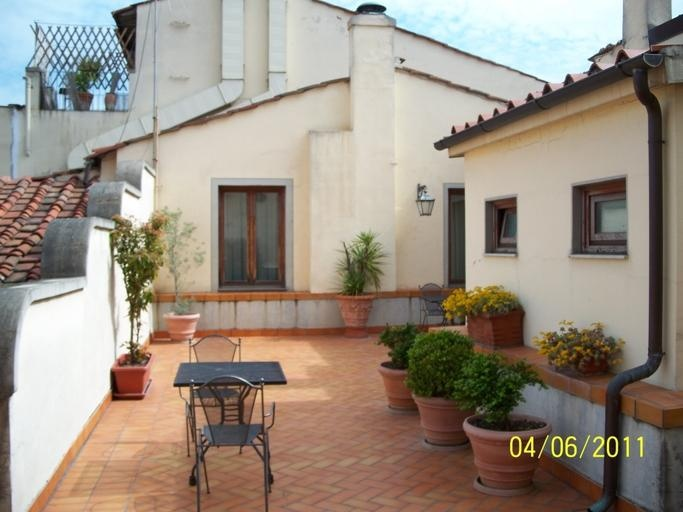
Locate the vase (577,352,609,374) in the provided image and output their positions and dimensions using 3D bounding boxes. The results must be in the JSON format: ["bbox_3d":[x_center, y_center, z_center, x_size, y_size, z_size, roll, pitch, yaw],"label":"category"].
[{"bbox_3d":[2.420,1.024,5.661,0.199,0.124,0.233,-1,-4,1],"label":"vase"}]

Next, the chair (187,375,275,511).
[{"bbox_3d":[-1.058,1.664,5.729,0.796,1.246,1.319,0,2,-9],"label":"chair"}]

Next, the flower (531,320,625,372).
[{"bbox_3d":[2.338,0.915,5.852,0.543,0.342,0.496,-1,0,-12],"label":"flower"}]

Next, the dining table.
[{"bbox_3d":[-1.258,1.780,6.311,1.076,1.087,1.147,3,-4,-15],"label":"dining table"}]

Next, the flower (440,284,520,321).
[{"bbox_3d":[1.663,0.564,7.201,0.544,0.286,0.545,-4,12,40],"label":"flower"}]

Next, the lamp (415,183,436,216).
[{"bbox_3d":[1.900,-1.276,13.516,0.408,0.766,0.309,0,2,4],"label":"lamp"}]

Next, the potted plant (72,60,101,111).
[{"bbox_3d":[-7.127,-4.816,16.483,0.607,1.586,0.687,1,2,25],"label":"potted plant"}]

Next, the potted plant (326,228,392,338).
[{"bbox_3d":[0.394,0.591,12.777,1.055,2.228,0.862,0,2,0],"label":"potted plant"}]

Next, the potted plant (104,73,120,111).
[{"bbox_3d":[-6.385,-4.584,16.381,0.361,1.106,0.369,0,2,-15],"label":"potted plant"}]

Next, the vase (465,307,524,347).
[{"bbox_3d":[1.870,0.858,7.122,0.378,0.386,0.583,0,-2,-7],"label":"vase"}]

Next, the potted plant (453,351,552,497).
[{"bbox_3d":[1.518,1.584,5.684,0.871,1.284,0.613,0,2,-2],"label":"potted plant"}]

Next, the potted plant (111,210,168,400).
[{"bbox_3d":[-3.010,0.663,8.820,0.751,2.655,1.291,0,2,-17],"label":"potted plant"}]
